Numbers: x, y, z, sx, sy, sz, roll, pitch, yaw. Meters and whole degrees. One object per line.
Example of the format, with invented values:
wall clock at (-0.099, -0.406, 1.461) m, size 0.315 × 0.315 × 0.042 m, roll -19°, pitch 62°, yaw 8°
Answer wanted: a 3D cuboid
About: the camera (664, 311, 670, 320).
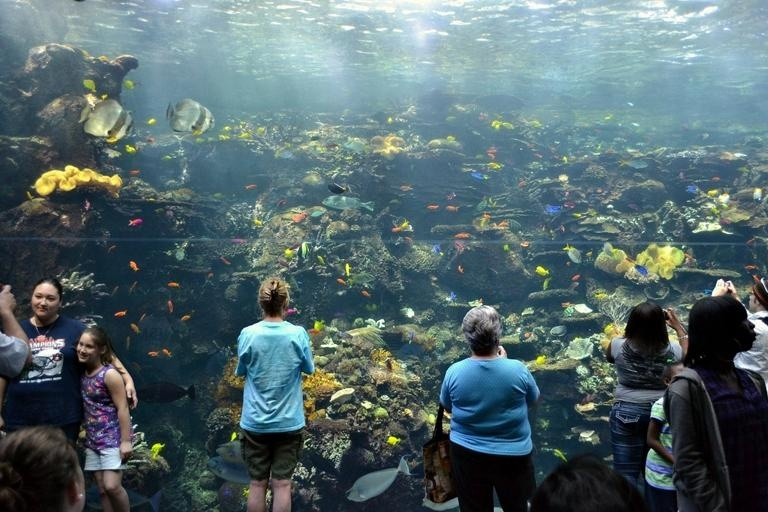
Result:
camera at (8.843, 1.867, 18.617) m, size 0.092 × 0.291 × 0.214 m, roll -31°, pitch 32°, yaw 5°
